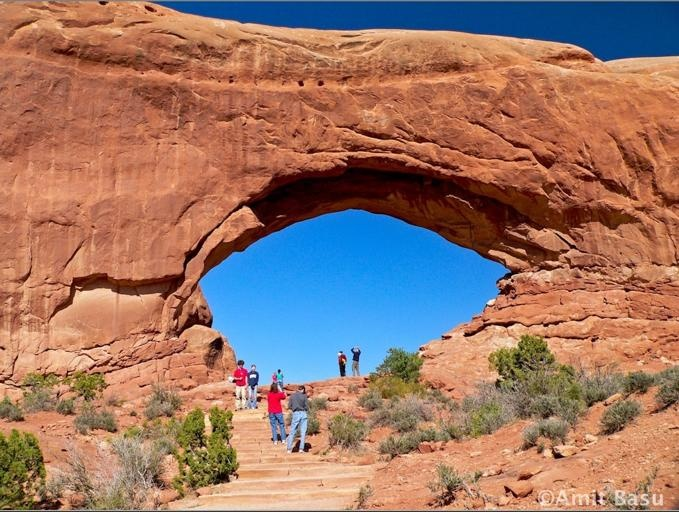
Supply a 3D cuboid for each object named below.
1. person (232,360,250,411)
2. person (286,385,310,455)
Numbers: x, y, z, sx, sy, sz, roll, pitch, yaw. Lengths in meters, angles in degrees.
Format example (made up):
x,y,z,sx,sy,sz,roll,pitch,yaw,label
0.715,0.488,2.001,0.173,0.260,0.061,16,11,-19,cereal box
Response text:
x,y,z,sx,sy,sz,roll,pitch,yaw,label
-3.127,4.190,28.560,0.518,1.489,1.872,-3,-18,-7,person
-1.173,4.593,25.019,0.625,1.815,1.068,-3,-19,-8,person
